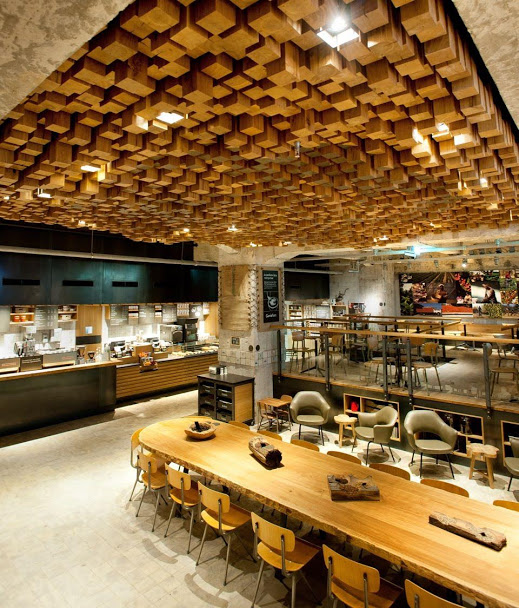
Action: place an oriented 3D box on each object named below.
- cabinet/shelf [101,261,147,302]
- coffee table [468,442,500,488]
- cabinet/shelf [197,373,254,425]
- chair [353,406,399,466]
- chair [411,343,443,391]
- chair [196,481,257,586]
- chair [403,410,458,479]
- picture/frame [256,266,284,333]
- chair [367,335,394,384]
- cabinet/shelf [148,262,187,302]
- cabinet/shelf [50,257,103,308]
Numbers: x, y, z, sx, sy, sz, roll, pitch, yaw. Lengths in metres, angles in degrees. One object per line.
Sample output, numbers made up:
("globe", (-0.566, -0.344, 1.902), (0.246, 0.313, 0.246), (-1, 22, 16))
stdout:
("cabinet/shelf", (-3.070, -0.507, 10.074), (0.315, 0.787, 0.973), (0, -2, 36))
("coffee table", (2.800, 2.030, 5.642), (0.271, 0.290, 0.275), (21, -23, -29))
("cabinet/shelf", (-0.623, 1.793, 8.388), (0.957, 0.782, 0.602), (-1, 0, 38))
("chair", (1.638, 1.796, 6.314), (0.546, 0.653, 0.589), (0, 3, -8))
("chair", (2.927, 1.133, 8.086), (0.517, 0.773, 0.519), (-8, -6, 40))
("chair", (-0.298, 2.021, 4.155), (0.546, 0.738, 0.477), (1, -1, -40))
("chair", (2.166, 1.773, 5.812), (0.656, 0.666, 0.617), (-1, -1, -1))
("picture/frame", (0.214, -0.107, 8.737), (0.183, 1.222, 0.734), (1, 3, 31))
("chair", (2.325, 1.090, 8.632), (0.561, 0.857, 0.547), (-2, 2, 25))
("cabinet/shelf", (-2.166, -0.519, 11.239), (1.178, 0.968, 0.414), (-2, -6, 29))
("cabinet/shelf", (-3.862, -0.442, 9.401), (0.375, 0.886, 1.123), (5, 4, 41))
